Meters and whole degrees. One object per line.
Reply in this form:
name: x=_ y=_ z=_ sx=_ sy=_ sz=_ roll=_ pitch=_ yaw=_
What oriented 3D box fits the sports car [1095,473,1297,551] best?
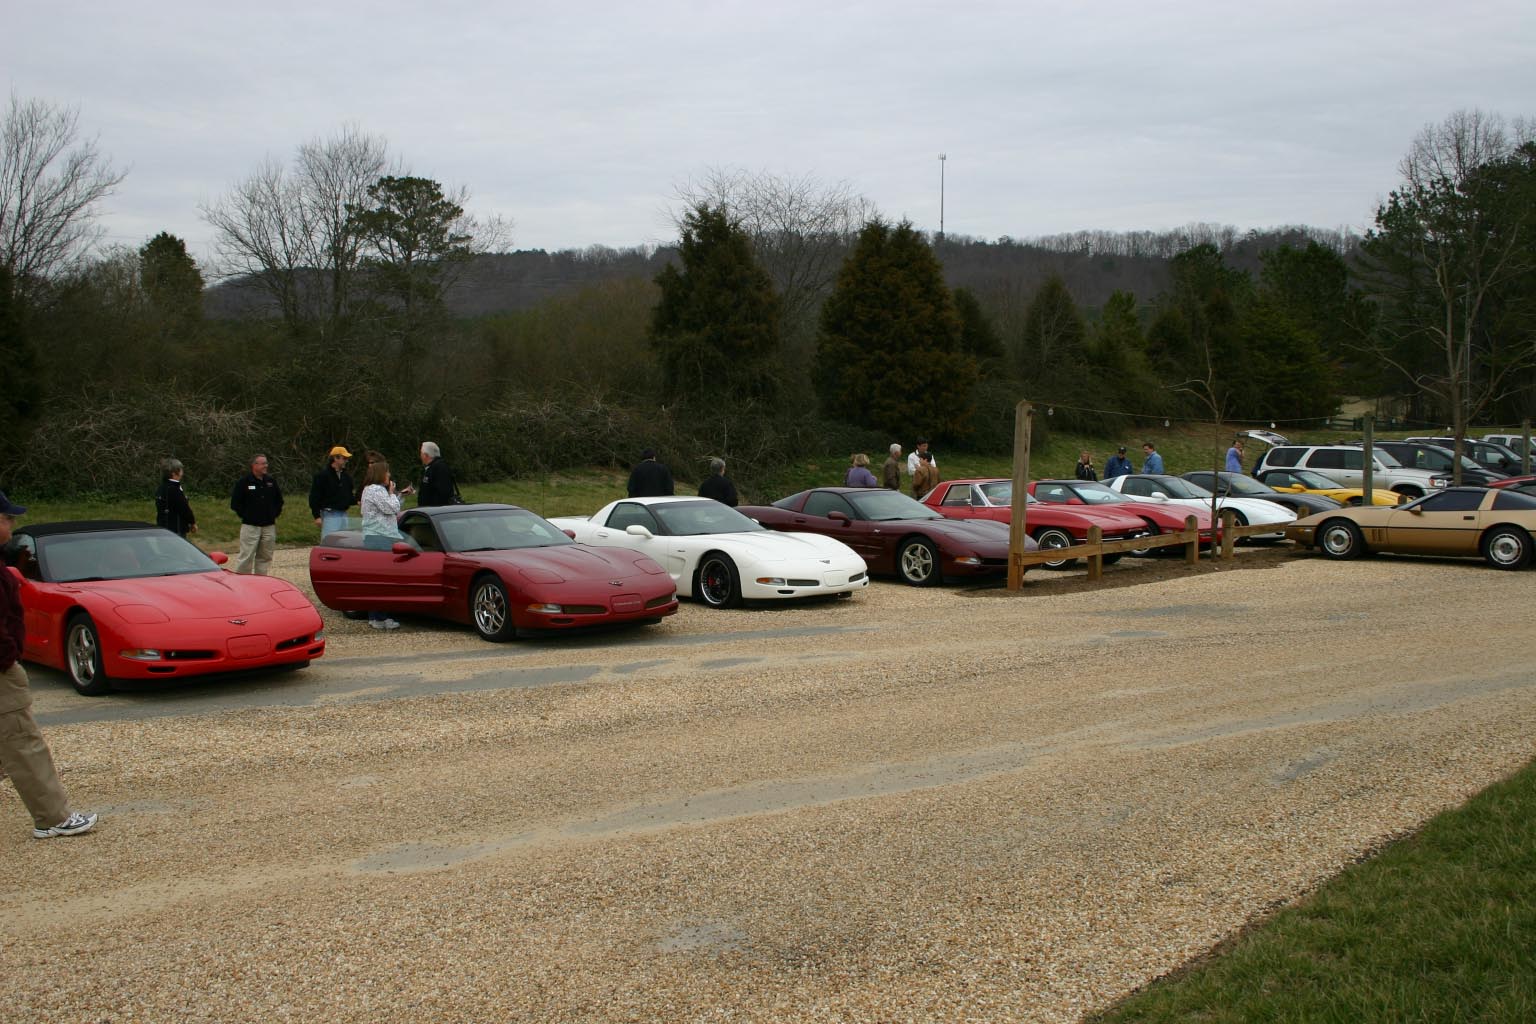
sports car: x=8.230 y=-0.121 z=24.681 sx=2.869 sy=0.779 sz=1.465 roll=7 pitch=7 yaw=28

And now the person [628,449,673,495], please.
person: x=-1.824 y=-0.697 z=20.439 sx=0.604 sy=0.716 sz=1.650 roll=-2 pitch=12 yaw=-8

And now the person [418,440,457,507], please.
person: x=-4.563 y=-0.537 z=18.127 sx=0.496 sy=0.968 sz=2.698 roll=-4 pitch=12 yaw=-15

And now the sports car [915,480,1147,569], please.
sports car: x=4.210 y=0.311 z=21.901 sx=3.045 sy=0.912 sz=1.685 roll=2 pitch=3 yaw=38

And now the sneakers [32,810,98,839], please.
sneakers: x=-4.961 y=2.226 z=9.362 sx=0.450 sy=0.201 sz=0.168 roll=-5 pitch=7 yaw=-15

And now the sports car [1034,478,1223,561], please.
sports car: x=6.243 y=0.165 z=23.285 sx=2.650 sy=0.784 sz=1.490 roll=-1 pitch=2 yaw=27

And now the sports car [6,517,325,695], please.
sports car: x=-5.834 y=0.907 z=12.598 sx=3.080 sy=0.936 sz=1.547 roll=4 pitch=1 yaw=41

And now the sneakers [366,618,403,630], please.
sneakers: x=-4.596 y=1.348 z=15.723 sx=0.432 sy=0.186 sz=0.161 roll=0 pitch=2 yaw=29

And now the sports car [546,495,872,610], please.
sports car: x=-0.825 y=0.516 z=17.568 sx=3.430 sy=0.929 sz=1.821 roll=4 pitch=2 yaw=39

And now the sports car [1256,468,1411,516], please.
sports car: x=12.565 y=-0.204 z=28.961 sx=3.168 sy=1.074 sz=1.473 roll=1 pitch=6 yaw=22

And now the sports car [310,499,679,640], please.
sports car: x=-3.347 y=0.727 z=15.203 sx=3.547 sy=1.096 sz=1.922 roll=0 pitch=-1 yaw=36

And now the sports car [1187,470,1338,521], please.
sports car: x=9.873 y=-0.393 z=26.452 sx=2.817 sy=0.786 sz=1.692 roll=6 pitch=4 yaw=38
